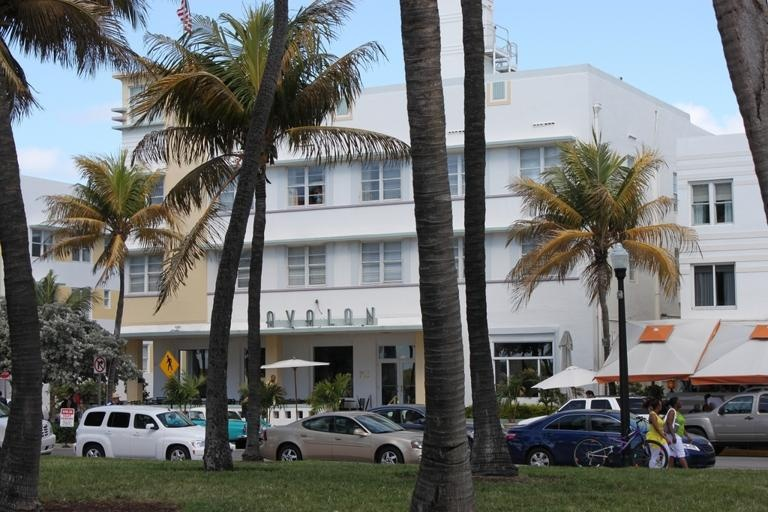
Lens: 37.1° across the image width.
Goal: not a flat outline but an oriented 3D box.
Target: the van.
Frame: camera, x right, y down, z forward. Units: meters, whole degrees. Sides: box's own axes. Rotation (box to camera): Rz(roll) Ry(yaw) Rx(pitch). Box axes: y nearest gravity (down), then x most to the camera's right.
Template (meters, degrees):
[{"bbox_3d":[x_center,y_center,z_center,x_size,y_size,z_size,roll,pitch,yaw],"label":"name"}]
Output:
[{"bbox_3d":[-8.199,6.170,39.198,4.772,2.127,2.562,-2,-4,14],"label":"van"}]

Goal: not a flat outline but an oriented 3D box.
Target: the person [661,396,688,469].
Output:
[{"bbox_3d":[8.566,5.176,33.668,0.670,2.103,0.655,-2,1,2],"label":"person"}]

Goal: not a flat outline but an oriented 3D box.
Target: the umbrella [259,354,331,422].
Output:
[{"bbox_3d":[-4.103,6.316,55.238,2.847,3.195,2.927,-6,-7,37],"label":"umbrella"}]

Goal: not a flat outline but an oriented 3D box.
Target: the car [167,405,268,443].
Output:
[{"bbox_3d":[-7.099,7.473,47.737,4.191,2.041,2.281,-1,-4,2],"label":"car"}]

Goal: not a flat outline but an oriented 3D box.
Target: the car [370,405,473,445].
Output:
[{"bbox_3d":[1.133,6.218,39.905,4.463,1.626,1.964,-3,-6,21],"label":"car"}]

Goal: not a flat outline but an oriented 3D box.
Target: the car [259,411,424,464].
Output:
[{"bbox_3d":[-1.379,6.109,36.487,6.443,2.070,2.547,-5,-7,32],"label":"car"}]

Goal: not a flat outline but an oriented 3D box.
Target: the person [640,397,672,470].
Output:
[{"bbox_3d":[7.953,5.146,33.387,0.712,1.951,1.275,-3,1,-1],"label":"person"}]
